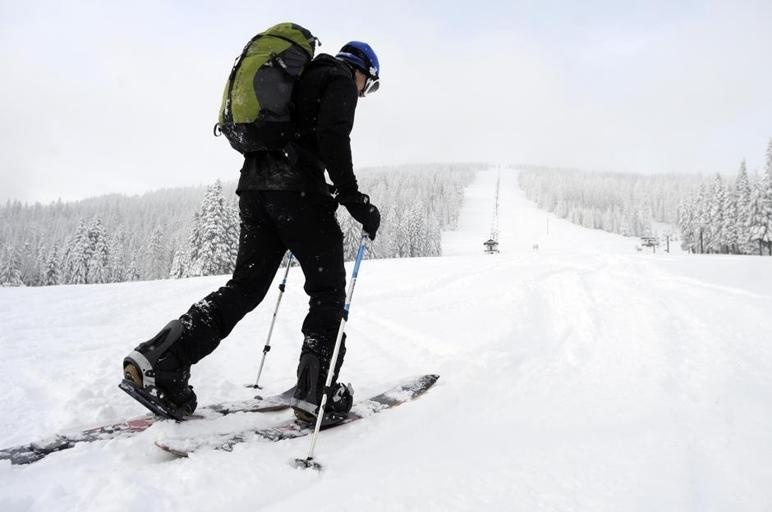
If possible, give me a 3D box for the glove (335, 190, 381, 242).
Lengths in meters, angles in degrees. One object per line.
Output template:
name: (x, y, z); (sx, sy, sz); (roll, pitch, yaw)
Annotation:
glove: (-0.311, -0.499, 6.857); (0.418, 0.659, 0.269); (-49, 24, -27)
